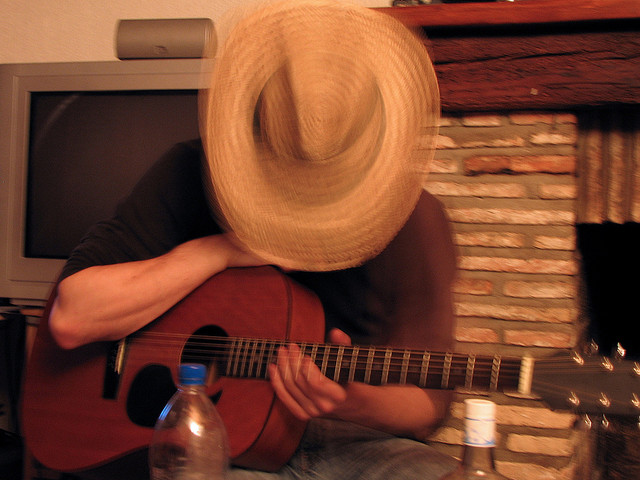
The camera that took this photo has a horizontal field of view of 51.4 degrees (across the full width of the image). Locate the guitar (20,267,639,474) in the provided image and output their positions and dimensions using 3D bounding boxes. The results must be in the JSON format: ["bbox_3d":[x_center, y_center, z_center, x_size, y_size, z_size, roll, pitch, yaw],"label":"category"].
[{"bbox_3d":[-0.184,0.344,1.583,1.644,0.508,0.206,1,-11,9],"label":"guitar"}]
